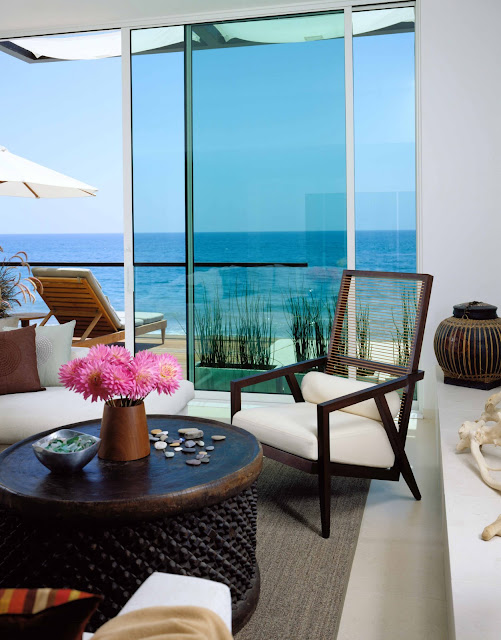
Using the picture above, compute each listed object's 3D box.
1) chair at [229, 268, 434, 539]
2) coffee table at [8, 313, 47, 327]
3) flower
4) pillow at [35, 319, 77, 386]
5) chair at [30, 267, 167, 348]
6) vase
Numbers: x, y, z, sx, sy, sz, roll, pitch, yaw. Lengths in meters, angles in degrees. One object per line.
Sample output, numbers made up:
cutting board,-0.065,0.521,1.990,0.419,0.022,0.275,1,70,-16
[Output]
chair,0.409,0.323,2.523,0.915,1.038,0.803,-4,8,-22
coffee table,-2.131,-0.022,4.787,0.290,0.186,0.285,0,9,-1
flower,-0.394,0.163,1.584,0.348,0.159,0.194,-3,6,-44
pillow,-1.075,0.184,2.746,0.339,0.326,0.118,-8,-8,0
chair,-1.917,-0.103,5.746,0.951,0.978,1.728,3,9,24
vase,-0.398,0.356,1.654,0.171,0.161,0.170,1,3,0
